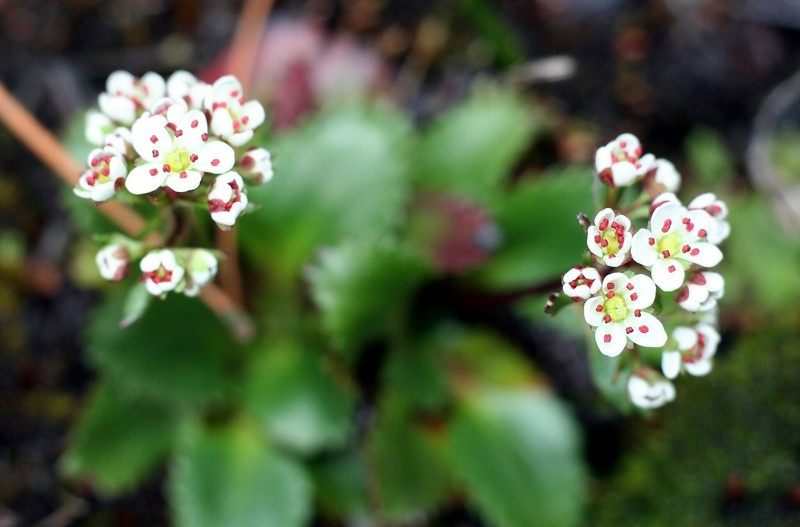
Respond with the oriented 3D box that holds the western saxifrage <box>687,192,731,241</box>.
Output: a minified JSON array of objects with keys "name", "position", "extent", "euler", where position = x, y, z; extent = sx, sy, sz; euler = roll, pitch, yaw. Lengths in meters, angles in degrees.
[{"name":"western saxifrage","position":[0.728,-0.117,1.880],"extent":[0.106,0.052,0.121],"euler":[23,81,-21]}]

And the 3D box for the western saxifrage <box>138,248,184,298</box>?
[{"name":"western saxifrage","position":[-0.547,0.020,1.771],"extent":[0.098,0.051,0.107],"euler":[9,88,-4]}]

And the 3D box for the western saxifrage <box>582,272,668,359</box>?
[{"name":"western saxifrage","position":[0.469,0.076,1.701],"extent":[0.188,0.077,0.194],"euler":[25,25,34]}]

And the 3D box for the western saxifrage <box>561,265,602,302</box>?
[{"name":"western saxifrage","position":[0.402,0.044,1.725],"extent":[0.079,0.043,0.078],"euler":[42,84,11]}]

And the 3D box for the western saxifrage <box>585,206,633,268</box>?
[{"name":"western saxifrage","position":[0.472,-0.045,1.747],"extent":[0.095,0.119,0.070],"euler":[11,93,31]}]

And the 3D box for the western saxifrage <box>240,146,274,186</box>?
[{"name":"western saxifrage","position":[-0.345,-0.233,1.873],"extent":[0.082,0.063,0.073],"euler":[-10,51,-10]}]

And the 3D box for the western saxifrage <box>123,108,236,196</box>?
[{"name":"western saxifrage","position":[-0.505,-0.245,1.780],"extent":[0.246,0.152,0.162],"euler":[-9,51,-9]}]

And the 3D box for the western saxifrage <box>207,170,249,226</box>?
[{"name":"western saxifrage","position":[-0.385,-0.140,1.780],"extent":[0.093,0.060,0.118],"euler":[46,106,30]}]

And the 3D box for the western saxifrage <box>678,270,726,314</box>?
[{"name":"western saxifrage","position":[0.698,0.065,1.784],"extent":[0.053,0.107,0.091],"euler":[51,29,11]}]
